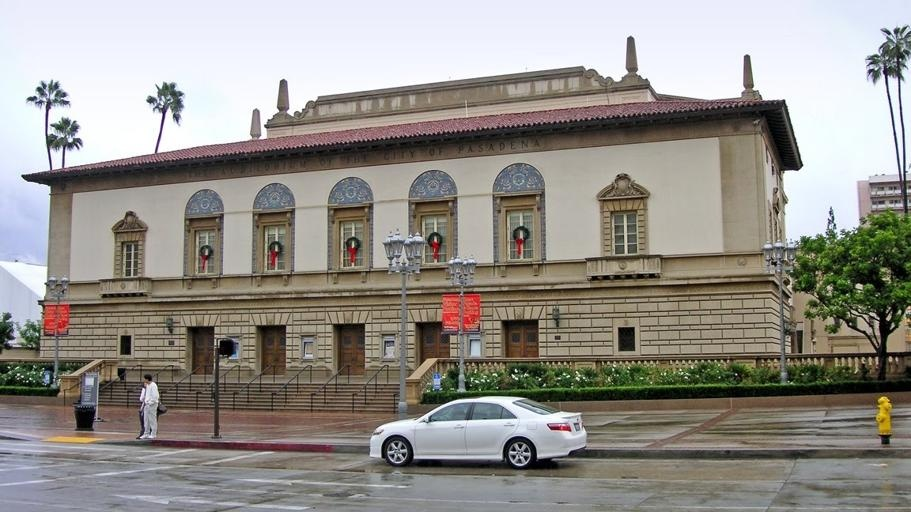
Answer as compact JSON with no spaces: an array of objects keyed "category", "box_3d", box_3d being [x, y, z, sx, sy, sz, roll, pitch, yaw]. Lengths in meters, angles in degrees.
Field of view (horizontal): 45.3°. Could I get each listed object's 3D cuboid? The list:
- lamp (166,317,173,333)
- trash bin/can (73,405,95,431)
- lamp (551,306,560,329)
[{"category":"lamp","box_3d":[-20.981,5.025,80.229,0.503,1.038,0.345,-2,-8,0]},{"category":"trash bin/can","box_3d":[-21.825,9.388,63.715,1.571,1.572,1.351,5,-12,-38]},{"category":"lamp","box_3d":[6.742,4.089,73.405,0.581,1.477,0.488,-3,-9,7]}]
